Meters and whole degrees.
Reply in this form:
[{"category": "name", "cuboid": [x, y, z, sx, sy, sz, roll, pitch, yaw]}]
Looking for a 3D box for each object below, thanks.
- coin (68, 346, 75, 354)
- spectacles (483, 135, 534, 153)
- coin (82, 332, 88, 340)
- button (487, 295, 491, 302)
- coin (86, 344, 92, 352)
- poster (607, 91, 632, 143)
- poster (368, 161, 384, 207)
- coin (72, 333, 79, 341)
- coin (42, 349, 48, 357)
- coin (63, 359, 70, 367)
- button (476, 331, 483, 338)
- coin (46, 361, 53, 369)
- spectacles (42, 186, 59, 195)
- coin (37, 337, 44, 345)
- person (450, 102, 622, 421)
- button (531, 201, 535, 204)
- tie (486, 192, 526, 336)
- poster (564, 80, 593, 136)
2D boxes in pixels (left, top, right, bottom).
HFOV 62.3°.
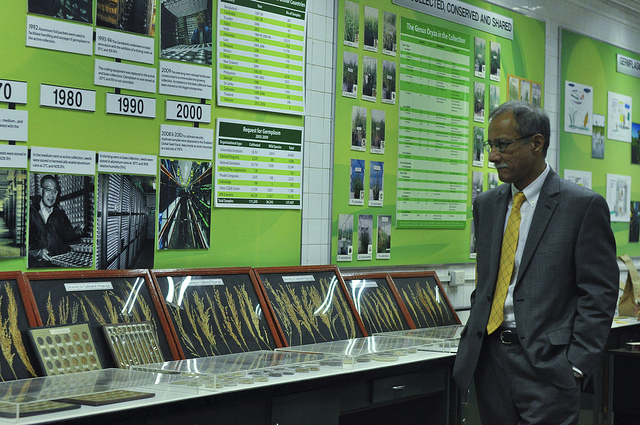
[{"category": "coin", "cuboid": [-1.458, 0.802, 3.089, 0.037, 0.033, 0.024, 5, 7, -16]}, {"category": "spectacles", "cuboid": [0.976, -0.369, 2.825, 0.270, 0.118, 0.119, 14, 10, 43]}, {"category": "coin", "cuboid": [-1.413, 0.737, 3.168, 0.029, 0.035, 0.026, 3, 8, -33]}, {"category": "button", "cuboid": [0.903, 0.464, 2.826, 0.006, 0.025, 0.024, 3, 6, -25]}, {"category": "coin", "cuboid": [-1.385, 0.803, 3.151, 0.041, 0.042, 0.009, 2, -8, -40]}, {"category": "poster", "cuboid": [4.089, -1.307, 7.255, 0.722, 0.749, 0.016, 1, -3, -18]}, {"category": "poster", "cuboid": [0.519, -0.268, 4.948, 0.191, 0.410, 0.079, 1, 8, -40]}, {"category": "coin", "cuboid": [-1.455, 0.736, 3.131, 0.039, 0.040, 0.009, 4, -11, -39]}, {"category": "coin", "cuboid": [-1.576, 0.799, 3.020, 0.007, 0.034, 0.034, -11, -6, 38]}, {"category": "coin", "cuboid": [-1.463, 0.864, 3.047, 0.026, 0.032, 0.035, 3, 8, -30]}, {"category": "button", "cuboid": [0.857, 0.656, 2.841, 0.028, 0.022, 0.007, -7, -1, 44]}, {"category": "coin", "cuboid": [-1.539, 0.862, 3.001, 0.038, 0.029, 0.031, 8, 7, 6]}, {"category": "spectacles", "cuboid": [-1.778, -0.139, 3.491, 0.085, 0.040, 0.015, 2, 8, -35]}, {"category": "coin", "cuboid": [-1.608, 0.734, 3.034, 0.033, 0.035, 0.023, 3, 8, -32]}, {"category": "person", "cuboid": [1.166, 0.309, 2.809, 0.768, 1.722, 0.421, 9, 7, 19]}, {"category": "button", "cuboid": [1.138, -0.053, 2.833, 0.016, 0.014, 0.005, 8, 7, 6]}, {"category": "tie", "cuboid": [1.000, 0.261, 2.839, 0.134, 0.994, 0.055, 12, -21, 15]}, {"category": "poster", "cuboid": [3.267, -1.322, 6.734, 0.725, 0.837, 0.034, 3, -2, -38]}]
